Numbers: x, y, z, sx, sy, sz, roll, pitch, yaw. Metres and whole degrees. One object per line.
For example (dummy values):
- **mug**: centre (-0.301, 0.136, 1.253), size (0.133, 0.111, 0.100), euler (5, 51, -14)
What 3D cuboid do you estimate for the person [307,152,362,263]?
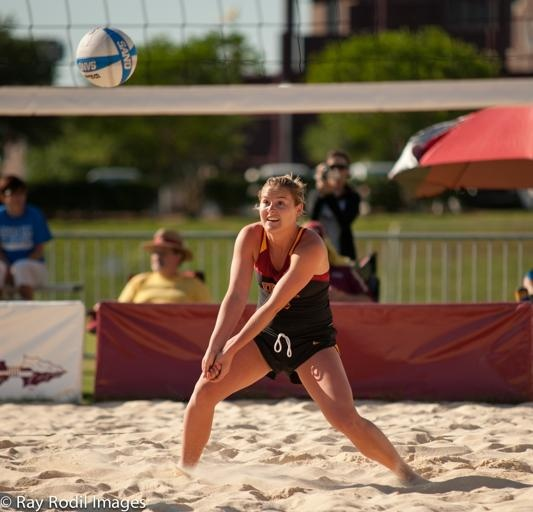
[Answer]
- **person**: centre (0.644, -0.496, 12.467), size (0.329, 1.193, 0.315), euler (3, 7, -5)

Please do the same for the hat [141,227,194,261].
- **hat**: centre (-0.808, -0.106, 11.207), size (0.259, 0.122, 0.303), euler (13, -17, 19)

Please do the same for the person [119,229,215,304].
- **person**: centre (-0.867, 0.119, 11.238), size (0.765, 0.726, 0.470), euler (2, -13, 1)
